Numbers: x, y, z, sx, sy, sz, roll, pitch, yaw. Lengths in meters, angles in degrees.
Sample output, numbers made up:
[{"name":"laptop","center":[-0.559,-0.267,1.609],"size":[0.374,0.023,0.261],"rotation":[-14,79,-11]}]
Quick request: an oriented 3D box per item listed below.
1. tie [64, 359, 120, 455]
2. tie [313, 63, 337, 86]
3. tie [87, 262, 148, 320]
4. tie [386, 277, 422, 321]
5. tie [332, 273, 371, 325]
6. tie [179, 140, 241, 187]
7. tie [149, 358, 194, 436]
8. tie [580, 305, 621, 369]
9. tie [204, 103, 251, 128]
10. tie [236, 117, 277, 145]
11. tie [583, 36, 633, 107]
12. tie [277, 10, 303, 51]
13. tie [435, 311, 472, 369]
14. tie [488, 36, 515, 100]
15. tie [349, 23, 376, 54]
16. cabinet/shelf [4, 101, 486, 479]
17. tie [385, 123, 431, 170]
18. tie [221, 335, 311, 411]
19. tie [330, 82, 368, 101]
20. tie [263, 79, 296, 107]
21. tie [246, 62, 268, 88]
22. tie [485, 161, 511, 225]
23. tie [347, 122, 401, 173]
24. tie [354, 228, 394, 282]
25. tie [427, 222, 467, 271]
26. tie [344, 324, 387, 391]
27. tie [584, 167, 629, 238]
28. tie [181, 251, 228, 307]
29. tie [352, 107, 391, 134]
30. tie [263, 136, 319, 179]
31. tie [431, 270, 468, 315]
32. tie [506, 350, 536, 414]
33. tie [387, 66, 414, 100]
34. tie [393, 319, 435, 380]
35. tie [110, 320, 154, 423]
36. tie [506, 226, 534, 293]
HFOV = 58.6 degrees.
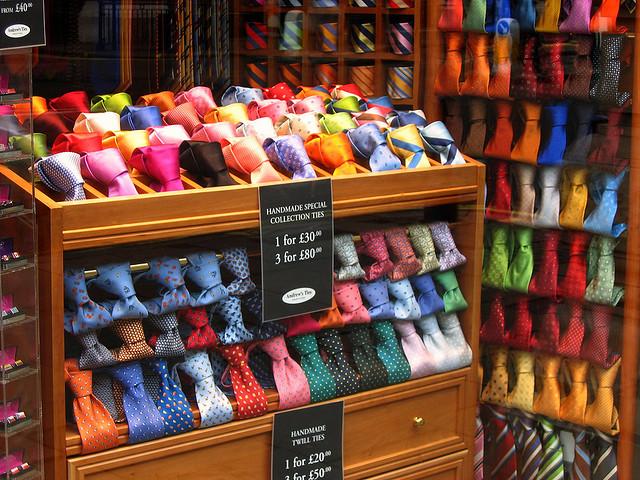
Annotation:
[{"name":"tie","center":[-0.463,0.336,1.160],"size":[0.081,0.186,0.074],"rotation":[-10,14,-27]},{"name":"tie","center":[0.014,-0.432,1.485],"size":[0.044,0.054,0.048],"rotation":[9,29,18]},{"name":"tie","center":[-0.421,0.105,1.191],"size":[0.118,0.062,0.172],"rotation":[-7,39,-29]},{"name":"tie","center":[0.211,0.147,1.431],"size":[0.070,0.106,0.034],"rotation":[-6,-1,-15]},{"name":"tie","center":[0.096,0.149,1.406],"size":[0.075,0.044,0.129],"rotation":[11,31,-17]},{"name":"tie","center":[-0.257,-0.169,1.258],"size":[0.089,0.125,0.052],"rotation":[-18,-28,-21]},{"name":"tie","center":[-0.315,0.348,1.222],"size":[0.080,0.165,0.047],"rotation":[-8,-16,-22]},{"name":"tie","center":[0.697,0.239,1.418],"size":[0.078,0.141,0.043],"rotation":[0,6,24]},{"name":"tie","center":[-0.239,-0.332,1.458],"size":[0.074,0.039,0.073],"rotation":[-14,19,-34]},{"name":"tie","center":[-0.152,-0.275,1.410],"size":[0.076,0.088,0.032],"rotation":[-8,1,-17]},{"name":"tie","center":[0.658,-0.376,1.287],"size":[0.102,0.144,0.048],"rotation":[6,9,22]},{"name":"tie","center":[-0.065,-0.520,1.413],"size":[0.063,0.128,0.090],"rotation":[4,23,3]},{"name":"tie","center":[0.350,0.270,1.545],"size":[0.089,0.144,0.052],"rotation":[-3,-17,-25]},{"name":"tie","center":[0.429,-0.413,1.361],"size":[0.054,0.146,0.021],"rotation":[0,13,17]},{"name":"tie","center":[0.107,-0.507,1.433],"size":[0.053,0.066,0.058],"rotation":[5,23,11]},{"name":"cabinet/shelf","center":[-0.232,0.156,1.478],"size":[1.094,0.874,0.624],"rotation":[-9,19,-28]},{"name":"tie","center":[0.225,-0.238,1.449],"size":[0.089,0.123,0.042],"rotation":[-25,-10,-12]},{"name":"tie","center":[-0.093,0.313,1.321],"size":[0.168,0.182,0.059],"rotation":[-10,-7,-21]},{"name":"tie","center":[0.074,-0.397,1.518],"size":[0.058,0.037,0.046],"rotation":[6,21,9]},{"name":"tie","center":[-0.098,-0.387,1.479],"size":[0.062,0.034,0.043],"rotation":[17,16,36]},{"name":"tie","center":[-0.159,-0.423,1.465],"size":[0.044,0.055,0.048],"rotation":[5,22,12]},{"name":"tie","center":[0.469,-0.121,1.490],"size":[0.084,0.134,0.037],"rotation":[2,2,9]},{"name":"tie","center":[0.132,-0.228,1.413],"size":[0.095,0.150,0.058],"rotation":[-25,-19,-15]},{"name":"tie","center":[0.136,0.034,1.390],"size":[0.087,0.116,0.033],"rotation":[-12,8,-8]},{"name":"tie","center":[0.327,0.015,1.479],"size":[0.094,0.125,0.035],"rotation":[-11,-4,-21]},{"name":"tie","center":[0.141,0.276,1.530],"size":[0.134,0.078,0.280],"rotation":[-8,2,8]},{"name":"tie","center":[0.677,-0.092,1.342],"size":[0.110,0.205,0.079],"rotation":[9,20,41]},{"name":"tie","center":[-0.249,0.085,1.258],"size":[0.063,0.127,0.101],"rotation":[10,23,42]},{"name":"tie","center":[0.139,-0.299,1.539],"size":[0.078,0.080,0.072],"rotation":[-26,14,24]},{"name":"tie","center":[-0.072,-0.192,1.331],"size":[0.083,0.131,0.041],"rotation":[-21,-18,-4]},{"name":"tie","center":[0.341,0.142,1.509],"size":[0.090,0.111,0.035],"rotation":[-7,-3,-28]},{"name":"tie","center":[0.551,0.381,1.538],"size":[0.082,0.142,0.040],"rotation":[5,8,15]},{"name":"tie","center":[0.216,-0.421,1.515],"size":[0.069,0.085,0.072],"rotation":[18,30,40]},{"name":"tie","center":[0.245,0.275,1.509],"size":[0.082,0.168,0.062],"rotation":[-13,-6,-10]},{"name":"tie","center":[-0.388,0.265,1.178],"size":[0.127,0.181,0.048],"rotation":[-2,4,-36]},{"name":"tie","center":[0.514,0.056,1.459],"size":[0.071,0.148,0.041],"rotation":[3,4,27]}]
